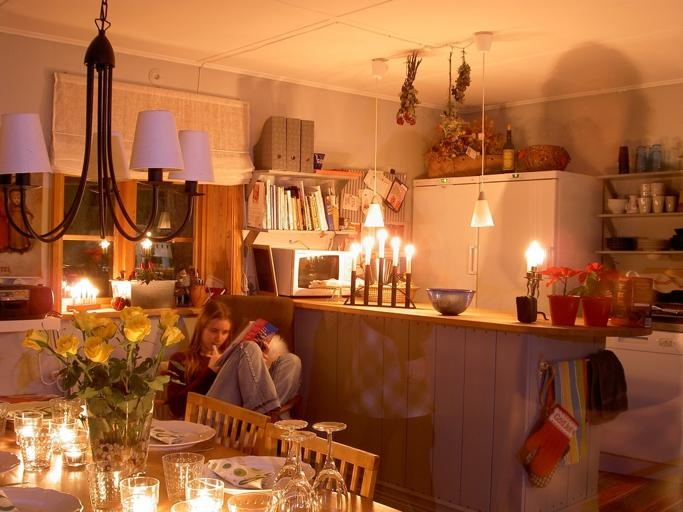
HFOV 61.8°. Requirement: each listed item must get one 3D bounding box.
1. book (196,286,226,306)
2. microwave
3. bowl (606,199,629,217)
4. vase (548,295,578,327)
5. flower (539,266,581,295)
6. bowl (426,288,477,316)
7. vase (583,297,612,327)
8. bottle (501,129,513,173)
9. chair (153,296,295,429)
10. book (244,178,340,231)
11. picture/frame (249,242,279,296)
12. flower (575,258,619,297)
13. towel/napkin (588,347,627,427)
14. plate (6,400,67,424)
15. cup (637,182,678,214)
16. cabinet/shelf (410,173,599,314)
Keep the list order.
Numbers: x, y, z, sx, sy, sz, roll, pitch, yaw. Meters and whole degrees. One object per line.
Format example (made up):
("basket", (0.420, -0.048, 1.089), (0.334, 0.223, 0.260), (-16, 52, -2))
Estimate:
("book", (-1.091, 0.326, 4.762), (0.171, 0.226, 0.176), (5, -10, -16))
("microwave", (-0.247, 0.143, 4.772), (0.577, 0.399, 0.399), (1, 0, -36))
("bowl", (2.474, -0.428, 5.126), (0.140, 0.114, 0.137), (-1, 1, 0))
("vase", (1.219, 0.298, 3.131), (0.152, 0.130, 0.162), (0, -3, 8))
("flower", (1.579, 0.179, 4.174), (0.223, 0.127, 0.238), (-5, 5, -30))
("bowl", (0.678, 0.275, 3.546), (0.191, 0.124, 0.200), (0, 0, 0))
("vase", (1.394, 0.303, 3.155), (0.149, 0.145, 0.156), (1, -2, -7))
("bottle", (1.576, -0.992, 5.384), (0.116, 0.425, 0.226), (1, 1, 17))
("chair", (-0.650, 0.737, 3.869), (0.842, 0.961, 0.646), (-27, -20, 26))
("book", (-0.415, -0.435, 5.050), (0.806, 0.442, 0.293), (-1, 2, -31))
("picture/frame", (-0.660, 0.104, 4.908), (0.332, 0.421, 0.405), (-3, 1, -34))
("flower", (1.441, 0.134, 3.224), (0.212, 0.181, 0.187), (1, 2, 24))
("towel/napkin", (1.565, 0.775, 3.380), (0.343, 0.366, 0.116), (-12, 8, -42))
("plate", (-1.191, 0.612, 2.230), (0.182, 0.043, 0.185), (2, -1, -9))
("cup", (2.661, -0.488, 4.845), (0.195, 0.289, 0.316), (1, 0, -5))
("cabinet/shelf", (1.443, -0.124, 4.866), (0.474, 1.280, 1.203), (3, -3, -45))
